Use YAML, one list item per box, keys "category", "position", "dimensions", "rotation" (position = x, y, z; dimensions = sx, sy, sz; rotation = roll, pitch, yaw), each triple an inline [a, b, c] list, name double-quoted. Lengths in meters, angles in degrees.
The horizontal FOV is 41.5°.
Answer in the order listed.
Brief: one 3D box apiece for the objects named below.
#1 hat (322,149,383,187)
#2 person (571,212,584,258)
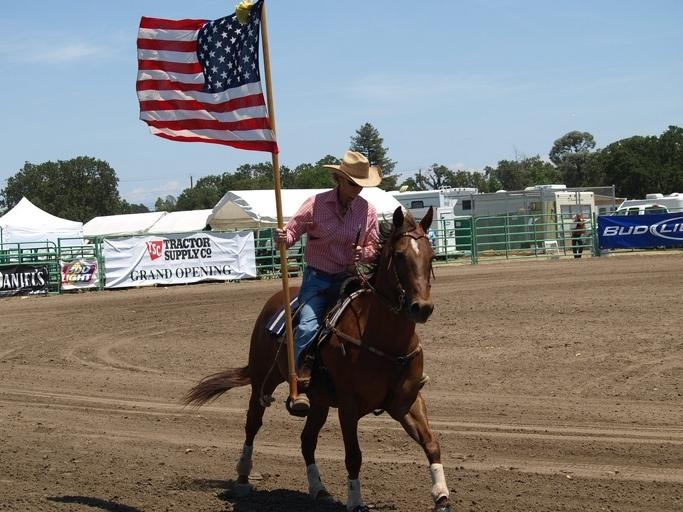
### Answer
- category: "hat"
  position: [0.199, -1.253, 12.447]
  dimensions: [0.677, 0.329, 0.824]
  rotation: [-13, 18, -3]
- category: "person"
  position: [9.011, -0.865, 34.308]
  dimensions: [0.475, 1.655, 2.305]
  rotation: [2, 12, 15]
